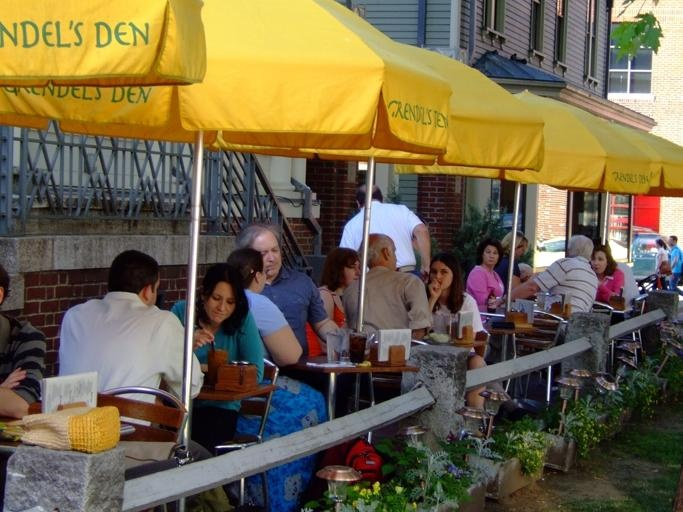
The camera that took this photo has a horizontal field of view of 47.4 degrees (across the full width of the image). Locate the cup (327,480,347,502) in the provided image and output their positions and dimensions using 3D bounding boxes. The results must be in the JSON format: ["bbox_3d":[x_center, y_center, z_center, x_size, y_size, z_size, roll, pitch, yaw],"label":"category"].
[{"bbox_3d":[-0.026,1.328,4.453,0.097,0.097,0.106,3,4,0],"label":"cup"}]

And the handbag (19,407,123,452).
[{"bbox_3d":[-1.065,0.699,3.165,0.218,0.144,0.242,3,2,16],"label":"handbag"}]

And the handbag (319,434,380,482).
[{"bbox_3d":[0.062,1.371,5.274,0.305,0.381,0.233,2,5,42],"label":"handbag"}]

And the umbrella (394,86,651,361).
[{"bbox_3d":[2.566,-0.507,8.610,2.066,1.690,2.152,16,5,2],"label":"umbrella"}]

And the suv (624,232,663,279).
[{"bbox_3d":[11.344,0.138,30.239,1.603,1.950,1.289,3,0,-11],"label":"suv"}]

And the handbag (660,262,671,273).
[{"bbox_3d":[8.119,0.306,19.651,0.199,0.417,0.281,0,1,34],"label":"handbag"}]

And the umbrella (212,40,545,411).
[{"bbox_3d":[0.257,-0.546,6.745,2.151,2.483,2.524,6,0,-8],"label":"umbrella"}]

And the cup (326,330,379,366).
[{"bbox_3d":[0.083,0.698,5.925,0.324,0.263,0.232,-2,-2,12],"label":"cup"}]
